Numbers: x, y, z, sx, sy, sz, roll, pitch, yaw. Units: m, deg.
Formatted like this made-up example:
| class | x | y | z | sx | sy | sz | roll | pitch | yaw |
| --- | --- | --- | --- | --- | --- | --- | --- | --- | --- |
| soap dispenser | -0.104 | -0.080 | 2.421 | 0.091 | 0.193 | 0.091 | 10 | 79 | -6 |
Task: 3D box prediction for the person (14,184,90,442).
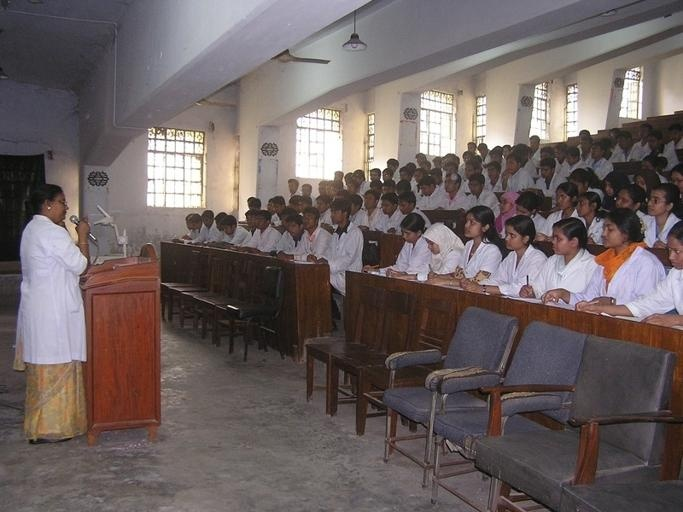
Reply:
| class | x | y | z | sx | sy | sz | roll | pitch | yaw |
| --- | --- | --- | --- | --- | --- | --- | --- | --- | --- |
| person | -1.971 | 0.377 | 3.803 | 0.523 | 1.713 | 0.460 | -1 | 7 | -11 |
